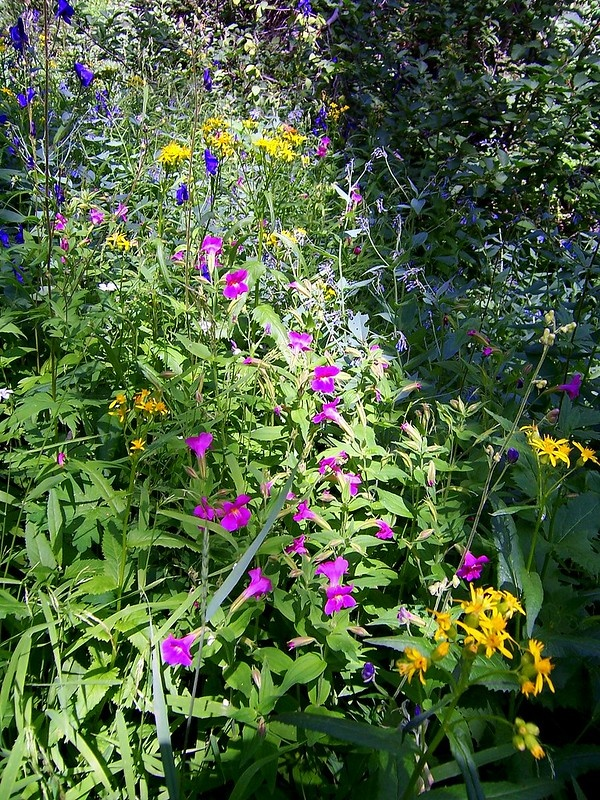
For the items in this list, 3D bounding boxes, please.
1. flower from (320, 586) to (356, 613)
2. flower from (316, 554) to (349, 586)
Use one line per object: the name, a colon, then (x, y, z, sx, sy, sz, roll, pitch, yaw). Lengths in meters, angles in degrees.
flower: (0.069, 0.352, 1.074, 0.052, 0.015, 0.049, -5, 73, -33)
flower: (0.060, 0.302, 1.080, 0.056, 0.050, 0.026, -15, 44, 7)
